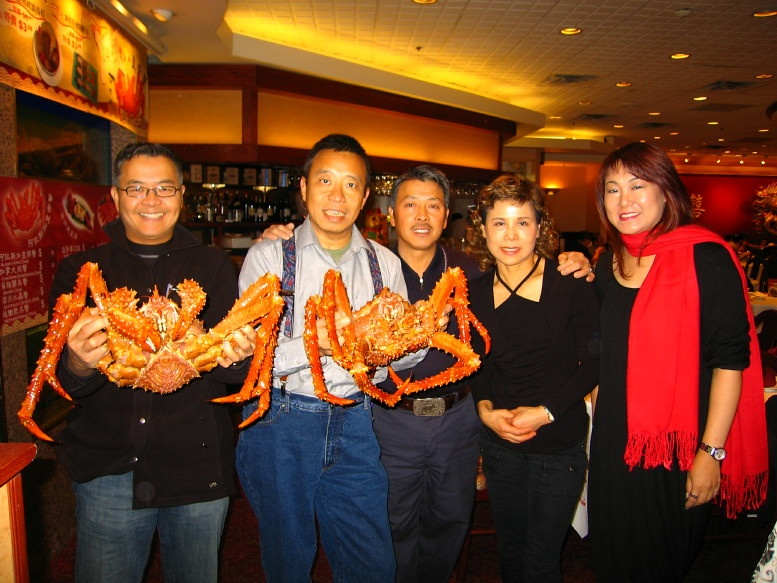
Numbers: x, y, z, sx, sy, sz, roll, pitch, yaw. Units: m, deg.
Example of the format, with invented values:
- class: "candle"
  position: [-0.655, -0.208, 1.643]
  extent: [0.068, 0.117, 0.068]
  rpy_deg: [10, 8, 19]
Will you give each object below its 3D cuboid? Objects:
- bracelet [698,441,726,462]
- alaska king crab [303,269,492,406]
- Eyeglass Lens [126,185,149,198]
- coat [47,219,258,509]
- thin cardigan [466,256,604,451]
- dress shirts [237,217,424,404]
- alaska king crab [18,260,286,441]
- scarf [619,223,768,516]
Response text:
- class: "bracelet"
  position: [1.528, 0.761, 2.656]
  extent: [0.121, 0.068, 0.122]
  rpy_deg: [14, -1, -32]
- class: "alaska king crab"
  position: [-0.038, 0.207, 2.685]
  extent: [1.113, 0.578, 0.446]
  rpy_deg: [-5, 3, -24]
- class: "Eyeglass Lens"
  position: [-1.128, -0.449, 2.526]
  extent: [0.105, 0.065, 0.021]
  rpy_deg: [4, 8, 6]
- class: "coat"
  position: [-1.142, 0.394, 2.722]
  extent: [0.946, 1.172, 0.408]
  rpy_deg: [7, -32, -13]
- class: "thin cardigan"
  position: [0.809, 0.335, 3.150]
  extent: [0.572, 0.978, 0.831]
  rpy_deg: [-23, 19, -39]
- class: "dress shirts"
  position: [-0.283, 0.060, 2.758]
  extent: [0.948, 0.869, 0.248]
  rpy_deg: [-6, -3, -30]
- class: "alaska king crab"
  position: [-0.923, 0.186, 2.396]
  extent: [1.052, 0.476, 0.725]
  rpy_deg: [2, 10, -18]
- class: "scarf"
  position: [1.468, 0.411, 2.762]
  extent: [0.805, 1.376, 0.424]
  rpy_deg: [1, -2, 31]
